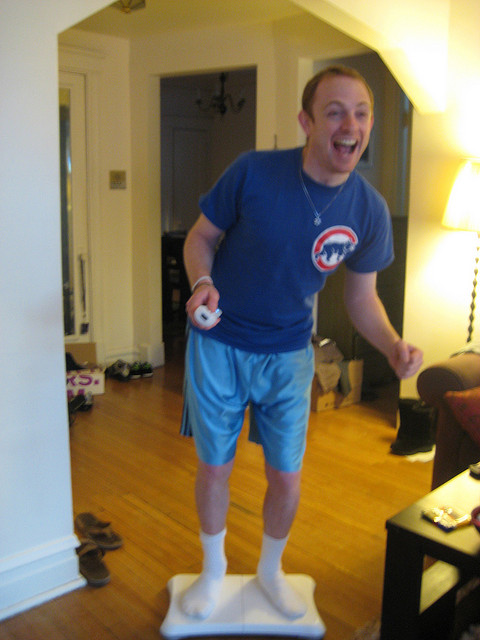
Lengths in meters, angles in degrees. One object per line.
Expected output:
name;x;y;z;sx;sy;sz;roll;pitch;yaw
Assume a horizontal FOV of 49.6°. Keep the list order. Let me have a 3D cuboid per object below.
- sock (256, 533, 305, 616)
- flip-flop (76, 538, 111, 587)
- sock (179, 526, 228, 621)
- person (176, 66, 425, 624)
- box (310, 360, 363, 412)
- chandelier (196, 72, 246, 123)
sock;0.114;0.686;1.444;0.134;0.225;0.107;2;6;5
flip-flop;-0.483;0.790;1.704;0.057;0.083;0.195;1;1;-27
sock;-0.093;0.693;1.435;0.084;0.194;0.194;5;14;15
person;0.133;0.136;1.259;0.548;1.379;0.355;1;6;-7
box;0.707;0.421;3.603;0.425;0.338;0.244;-5;9;-8
chandelier;-0.164;-2.569;5.953;0.332;0.492;0.363;-9;22;3
